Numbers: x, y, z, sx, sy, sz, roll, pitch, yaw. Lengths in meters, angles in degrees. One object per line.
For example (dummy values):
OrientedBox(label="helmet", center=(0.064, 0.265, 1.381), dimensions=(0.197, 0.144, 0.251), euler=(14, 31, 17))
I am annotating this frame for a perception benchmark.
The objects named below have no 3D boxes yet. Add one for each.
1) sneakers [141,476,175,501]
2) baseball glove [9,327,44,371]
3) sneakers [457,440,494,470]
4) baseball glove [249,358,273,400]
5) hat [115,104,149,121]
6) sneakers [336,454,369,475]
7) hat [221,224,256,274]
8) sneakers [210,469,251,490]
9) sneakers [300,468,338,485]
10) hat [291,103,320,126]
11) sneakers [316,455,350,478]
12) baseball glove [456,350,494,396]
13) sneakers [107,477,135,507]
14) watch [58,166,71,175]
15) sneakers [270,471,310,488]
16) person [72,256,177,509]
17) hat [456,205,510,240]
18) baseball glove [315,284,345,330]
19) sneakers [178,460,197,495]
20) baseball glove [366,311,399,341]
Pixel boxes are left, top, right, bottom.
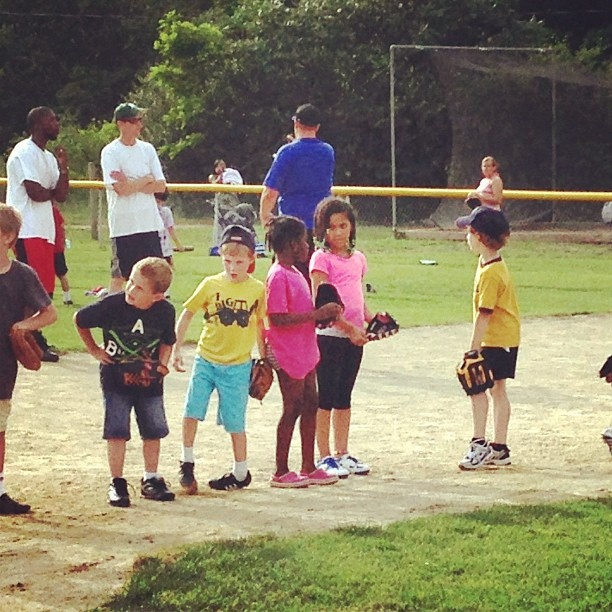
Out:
OrientedBox(label="sneakers", center=(-0.926, 1.155, 9.586), dimensions=(0.256, 0.103, 0.099), euler=(-2, -1, 43))
OrientedBox(label="baseball glove", center=(-1.724, 0.283, 9.376), dimensions=(0.091, 0.240, 0.177), euler=(-22, 20, 15))
OrientedBox(label="sneakers", center=(1.119, 0.998, 10.102), dimensions=(0.311, 0.185, 0.114), euler=(-9, 2, -9))
OrientedBox(label="baseball glove", center=(-0.321, 0.484, 9.796), dimensions=(0.090, 0.232, 0.189), euler=(15, 13, -15))
OrientedBox(label="hat", center=(-1.392, -1.505, 12.129), dimensions=(0.304, 0.148, 0.193), euler=(-3, 22, -2))
OrientedBox(label="sneakers", center=(0.316, 1.044, 10.049), dimensions=(0.246, 0.102, 0.092), euler=(9, 14, 20))
OrientedBox(label="hat", center=(-0.433, -0.348, 9.873), dimensions=(0.226, 0.347, 0.321), euler=(-1, 13, -2))
OrientedBox(label="sneakers", center=(-0.483, 1.125, 9.805), dimensions=(0.288, 0.114, 0.098), euler=(3, -1, -9))
OrientedBox(label="sneakers", center=(0.080, 1.110, 9.884), dimensions=(0.244, 0.098, 0.091), euler=(0, 1, -7))
OrientedBox(label="hat", center=(0.002, -1.368, 11.002), dimensions=(0.139, 0.104, 0.182), euler=(0, 27, -11))
OrientedBox(label="sneakers", center=(0.178, 1.062, 9.975), dimensions=(0.236, 0.102, 0.101), euler=(1, 5, 42))
OrientedBox(label="baseball glove", center=(1.086, 0.423, 10.127), dimensions=(0.247, 0.244, 0.195), euler=(-14, 12, 0))
OrientedBox(label="sneakers", center=(-1.145, 1.146, 9.476), dimensions=(0.137, 0.156, 0.218), euler=(-2, 13, -6))
OrientedBox(label="watch", center=(-1.938, -1.086, 12.370), dimensions=(0.121, 0.083, 0.116), euler=(-1, 1, 0))
OrientedBox(label="sneakers", center=(-0.101, 1.123, 9.837), dimensions=(0.226, 0.092, 0.098), euler=(0, 1, -2))
OrientedBox(label="person", center=(-1.101, 0.471, 9.500), dimensions=(0.621, 1.465, 0.520), euler=(-2, 13, -7))
OrientedBox(label="hat", center=(1.155, -0.521, 10.283), dimensions=(0.305, 0.153, 0.217), euler=(27, 29, 24))
OrientedBox(label="baseball glove", center=(0.116, 0.012, 9.754), dimensions=(0.212, 0.267, 0.091), euler=(25, -13, -24))
OrientedBox(label="sneakers", center=(-0.739, 1.096, 9.719), dimensions=(0.116, 0.163, 0.215), euler=(-1, 13, -5))
OrientedBox(label="baseball glove", center=(0.484, 0.142, 9.965), dimensions=(0.211, 0.156, 0.055), euler=(-26, -18, 11))
